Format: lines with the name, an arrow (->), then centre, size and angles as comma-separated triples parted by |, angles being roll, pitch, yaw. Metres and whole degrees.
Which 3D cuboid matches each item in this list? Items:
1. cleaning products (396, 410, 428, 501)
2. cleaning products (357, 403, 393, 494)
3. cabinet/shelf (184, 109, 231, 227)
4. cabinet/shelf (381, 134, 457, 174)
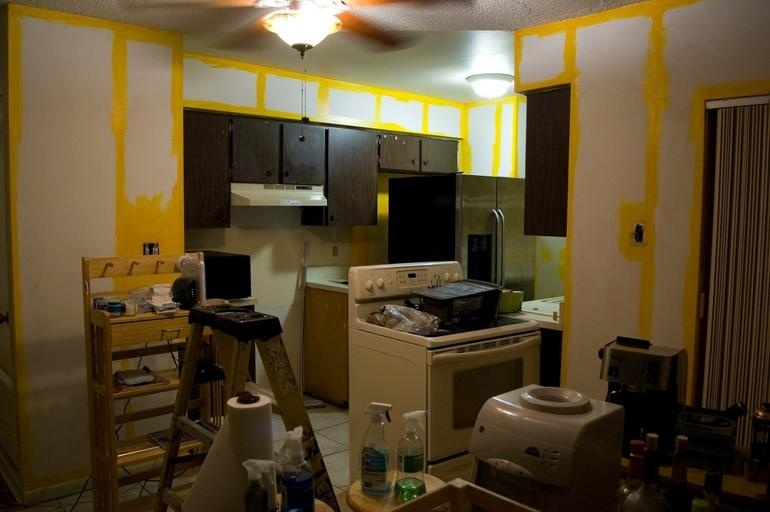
cleaning products -> 0.100, 0.808, 2.425 | 0.134, 0.365, 0.261 | 0, 5, 3
cleaning products -> -0.037, 0.785, 2.464 | 0.133, 0.379, 0.126 | -4, 6, -30
cabinet/shelf -> -1.423, -0.675, 4.711 | 0.367, 0.876, 0.109 | -4, 6, -28
cabinet/shelf -> 0.340, -1.038, 6.063 | 1.132, 0.403, 0.145 | -5, 7, -40
